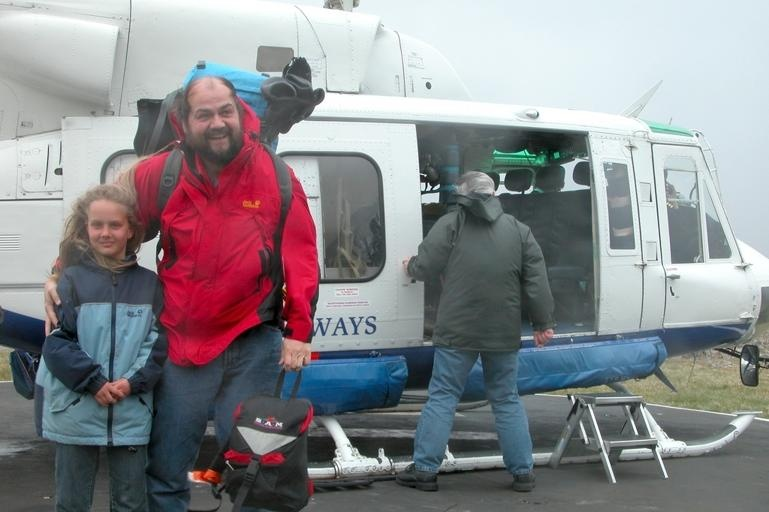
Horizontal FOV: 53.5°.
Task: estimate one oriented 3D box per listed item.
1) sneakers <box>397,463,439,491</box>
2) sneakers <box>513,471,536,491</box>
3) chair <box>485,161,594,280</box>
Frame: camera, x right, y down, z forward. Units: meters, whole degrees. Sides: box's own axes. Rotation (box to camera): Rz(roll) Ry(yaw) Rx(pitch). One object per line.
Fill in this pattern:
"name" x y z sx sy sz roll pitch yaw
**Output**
"sneakers" 0.248 1.683 5.887 0.325 0.202 0.152 6 -3 41
"sneakers" 1.092 1.718 5.891 0.197 0.152 0.138 1 -1 -5
"chair" 1.472 -0.308 7.009 1.215 1.081 0.624 -3 -6 38
